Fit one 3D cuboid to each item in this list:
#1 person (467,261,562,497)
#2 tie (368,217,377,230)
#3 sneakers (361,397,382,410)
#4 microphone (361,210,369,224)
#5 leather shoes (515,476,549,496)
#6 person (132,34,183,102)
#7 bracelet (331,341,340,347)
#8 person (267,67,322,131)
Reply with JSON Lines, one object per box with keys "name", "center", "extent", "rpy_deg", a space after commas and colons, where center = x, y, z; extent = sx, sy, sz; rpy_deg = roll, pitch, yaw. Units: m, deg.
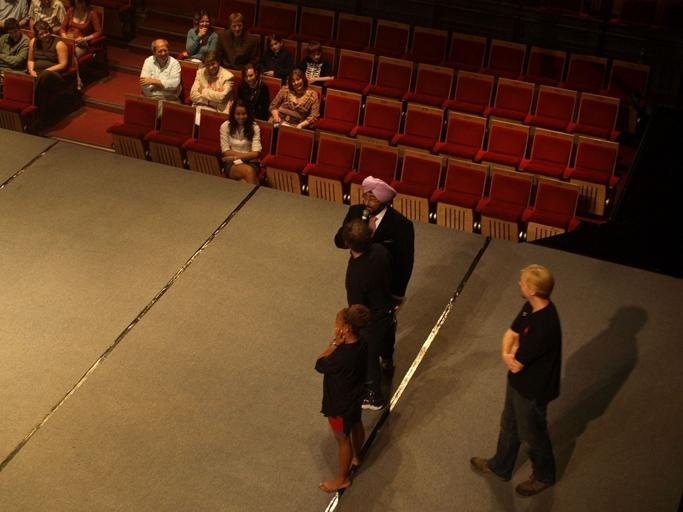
{"name": "person", "center": [1.218, 0.941, 3.946], "extent": [0.669, 2.031, 0.567], "rpy_deg": [-2, 30, 5]}
{"name": "tie", "center": [0.239, -0.247, 4.204], "extent": [0.063, 0.096, 0.022], "rpy_deg": [18, 12, 21]}
{"name": "sneakers", "center": [0.238, 1.111, 4.302], "extent": [0.173, 0.090, 0.081], "rpy_deg": [6, 40, 6]}
{"name": "microphone", "center": [0.185, -0.299, 4.154], "extent": [0.051, 0.084, 0.085], "rpy_deg": [3, 28, 8]}
{"name": "leather shoes", "center": [1.297, 1.580, 3.823], "extent": [0.214, 0.101, 0.122], "rpy_deg": [-2, 40, 3]}
{"name": "person", "center": [-2.405, -2.589, 7.676], "extent": [0.622, 1.188, 0.755], "rpy_deg": [-2, 30, -9]}
{"name": "bracelet", "center": [-0.033, 0.537, 3.453], "extent": [0.025, 0.013, 0.050], "rpy_deg": [-15, 28, 19]}
{"name": "person", "center": [-0.608, -2.023, 7.287], "extent": [0.687, 0.961, 0.719], "rpy_deg": [11, 40, 1]}
